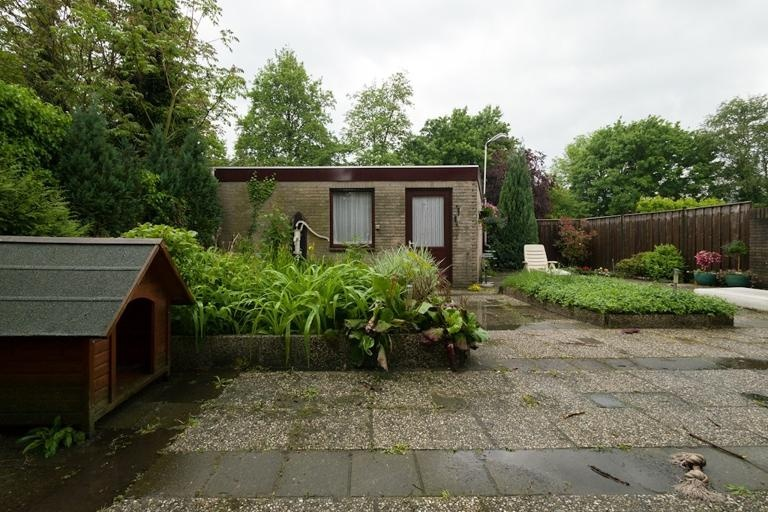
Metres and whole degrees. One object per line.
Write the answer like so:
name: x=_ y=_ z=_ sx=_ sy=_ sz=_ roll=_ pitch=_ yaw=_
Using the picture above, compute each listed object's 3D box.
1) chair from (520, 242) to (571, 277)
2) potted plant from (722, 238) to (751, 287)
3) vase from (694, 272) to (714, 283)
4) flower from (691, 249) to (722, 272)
chair: x=5.172 y=0.100 z=17.549 sx=1.049 sy=0.904 sz=1.384 roll=-2 pitch=4 yaw=-20
potted plant: x=9.587 y=0.190 z=14.450 sx=0.627 sy=1.243 sz=0.727 roll=-1 pitch=1 yaw=31
vase: x=9.094 y=0.615 z=15.082 sx=0.319 sy=0.220 sz=0.339 roll=1 pitch=-4 yaw=-7
flower: x=9.331 y=0.156 z=15.320 sx=0.751 sy=0.705 sz=0.544 roll=2 pitch=2 yaw=4
